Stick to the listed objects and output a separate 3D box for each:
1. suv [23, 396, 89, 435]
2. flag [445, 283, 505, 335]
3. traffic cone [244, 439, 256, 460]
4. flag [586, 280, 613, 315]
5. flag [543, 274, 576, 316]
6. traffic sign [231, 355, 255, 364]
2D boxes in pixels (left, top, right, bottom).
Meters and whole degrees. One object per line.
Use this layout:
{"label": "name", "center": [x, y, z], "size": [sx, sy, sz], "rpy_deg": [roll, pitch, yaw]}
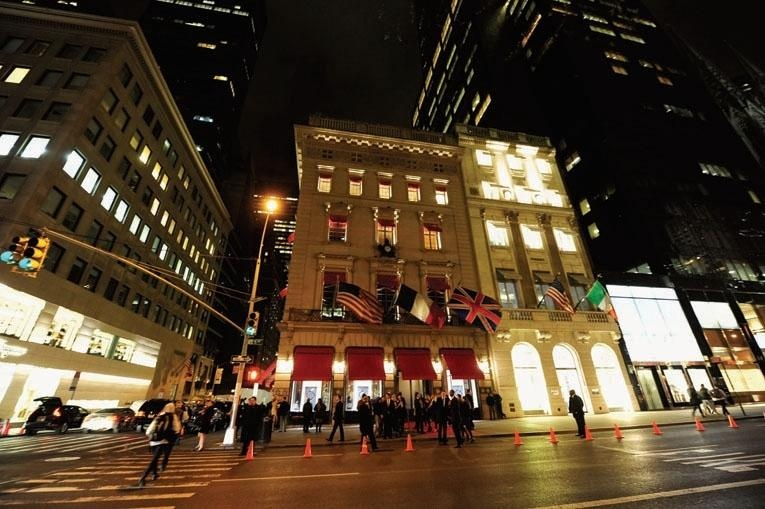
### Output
{"label": "suv", "center": [-27.770, 13.428, 33.173], "size": [1.239, 2.976, 3.640], "rpy_deg": [-7, -10, 37]}
{"label": "flag", "center": [8.541, 4.909, 35.974], "size": [4.264, 4.087, 0.682], "rpy_deg": [0, -8, -3]}
{"label": "traffic cone", "center": [-8.686, 12.519, 25.457], "size": [0.524, 1.006, 0.883], "rpy_deg": [2, -8, -17]}
{"label": "flag", "center": [21.348, 4.249, 38.911], "size": [2.909, 3.094, 0.364], "rpy_deg": [18, -2, -11]}
{"label": "flag", "center": [17.725, 4.109, 39.573], "size": [3.132, 3.303, 0.372], "rpy_deg": [32, -25, -1]}
{"label": "traffic sign", "center": [-10.565, 7.849, 29.917], "size": [1.676, 0.771, 0.384], "rpy_deg": [-2, 0, 3]}
